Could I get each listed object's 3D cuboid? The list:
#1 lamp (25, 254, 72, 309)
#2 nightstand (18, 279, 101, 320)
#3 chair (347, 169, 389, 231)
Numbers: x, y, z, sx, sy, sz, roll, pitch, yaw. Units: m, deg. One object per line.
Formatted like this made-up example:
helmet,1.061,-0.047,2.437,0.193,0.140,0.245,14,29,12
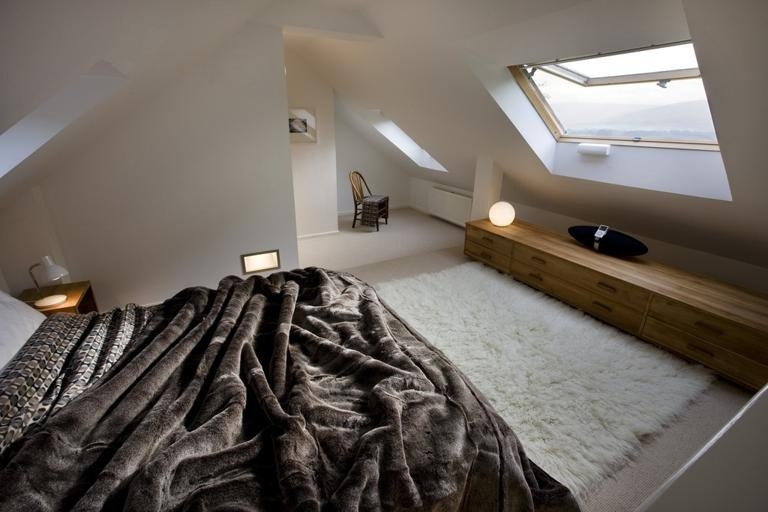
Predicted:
lamp,-2.695,0.193,3.356,0.269,0.367,0.214,-5,17,-15
nightstand,-2.751,0.346,3.550,0.324,0.471,0.488,1,13,-6
chair,-0.207,-0.952,7.020,0.653,0.890,0.643,-1,18,-4
